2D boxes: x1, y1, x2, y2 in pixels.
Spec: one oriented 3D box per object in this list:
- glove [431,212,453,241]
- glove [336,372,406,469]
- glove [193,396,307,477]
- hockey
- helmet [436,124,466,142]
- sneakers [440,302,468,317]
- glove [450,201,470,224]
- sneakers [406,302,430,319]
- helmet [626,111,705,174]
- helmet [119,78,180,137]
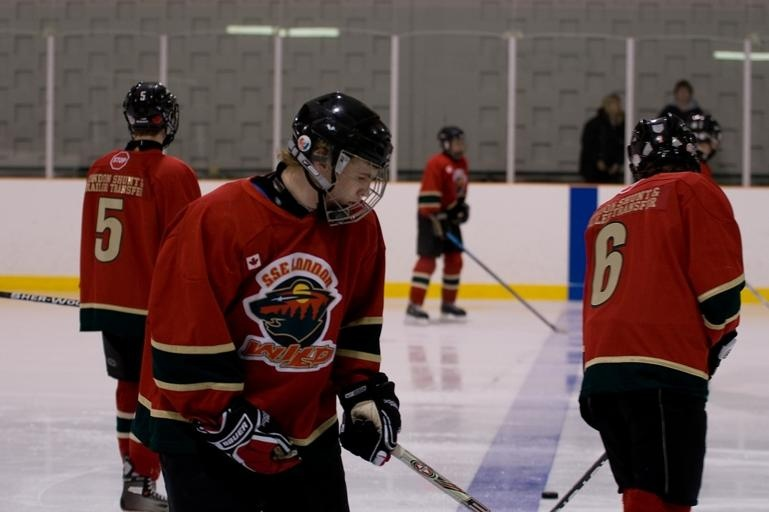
[{"bbox_3d":[0.524,-0.291,12.281,0.155,0.221,0.246,-14,5,-8],"label":"glove"},{"bbox_3d":[-0.073,0.879,7.008,0.373,0.467,0.207,4,-2,-10],"label":"glove"},{"bbox_3d":[-0.688,0.957,6.852,0.568,0.303,0.194,31,-22,-14],"label":"glove"},{"bbox_3d":[1.268,0.227,13.033,1.563,0.111,0.150,41,4,-32],"label":"hockey"},{"bbox_3d":[0.625,-1.144,12.394,0.224,0.151,0.178,2,5,11],"label":"helmet"},{"bbox_3d":[0.636,0.518,12.459,0.295,0.112,0.101,5,5,-3],"label":"sneakers"},{"bbox_3d":[0.745,-0.395,12.466,0.105,0.202,0.200,30,9,-40],"label":"glove"},{"bbox_3d":[0.305,0.515,12.357,0.272,0.157,0.092,10,14,25],"label":"sneakers"},{"bbox_3d":[1.587,-0.631,7.438,0.347,0.381,0.369,-4,39,12],"label":"helmet"},{"bbox_3d":[-1.432,-0.920,8.269,0.308,0.343,0.375,2,12,2],"label":"helmet"}]
